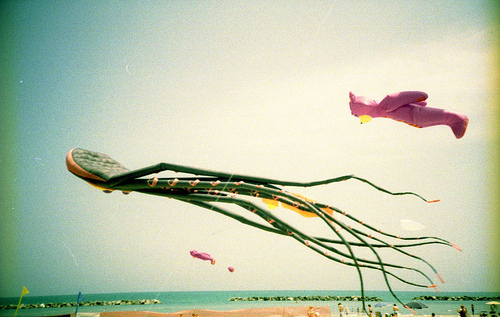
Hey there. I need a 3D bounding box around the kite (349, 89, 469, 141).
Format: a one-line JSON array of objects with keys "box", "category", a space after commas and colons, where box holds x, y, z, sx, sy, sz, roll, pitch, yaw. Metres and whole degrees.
[{"box": [5.511, -1.667, 17.933, 3.390, 1.088, 1.805, 11, -5, 12], "category": "kite"}]

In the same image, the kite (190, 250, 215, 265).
[{"box": [-2.248, 4.589, 23.834, 1.153, 0.478, 0.457, 23, -64, 2], "category": "kite"}]

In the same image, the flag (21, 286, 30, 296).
[{"box": [-9.304, 5.491, 20.598, 0.195, 0.460, 0.639, 14, -33, -21], "category": "flag"}]
